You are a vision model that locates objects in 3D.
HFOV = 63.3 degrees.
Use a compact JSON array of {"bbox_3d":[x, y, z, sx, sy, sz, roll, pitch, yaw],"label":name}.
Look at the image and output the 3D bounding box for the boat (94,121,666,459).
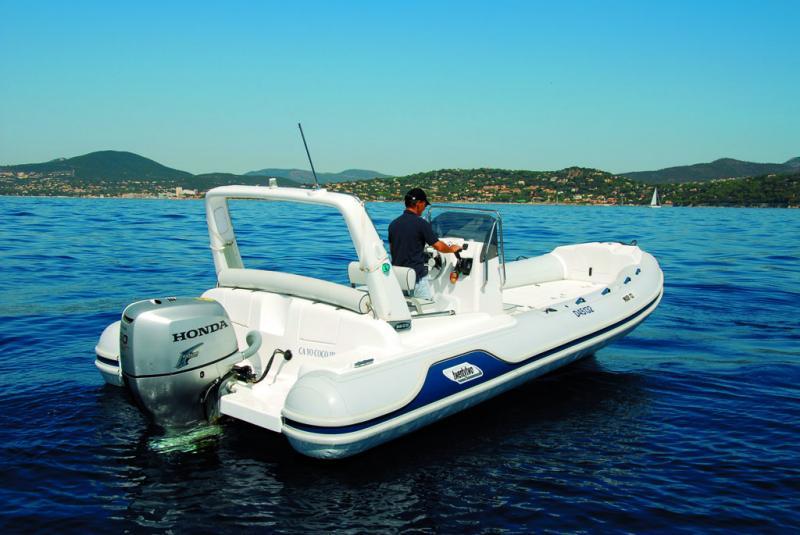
[{"bbox_3d":[-0.200,0.305,6.578,4.668,2.483,1.739,-10,11,-37],"label":"boat"}]
